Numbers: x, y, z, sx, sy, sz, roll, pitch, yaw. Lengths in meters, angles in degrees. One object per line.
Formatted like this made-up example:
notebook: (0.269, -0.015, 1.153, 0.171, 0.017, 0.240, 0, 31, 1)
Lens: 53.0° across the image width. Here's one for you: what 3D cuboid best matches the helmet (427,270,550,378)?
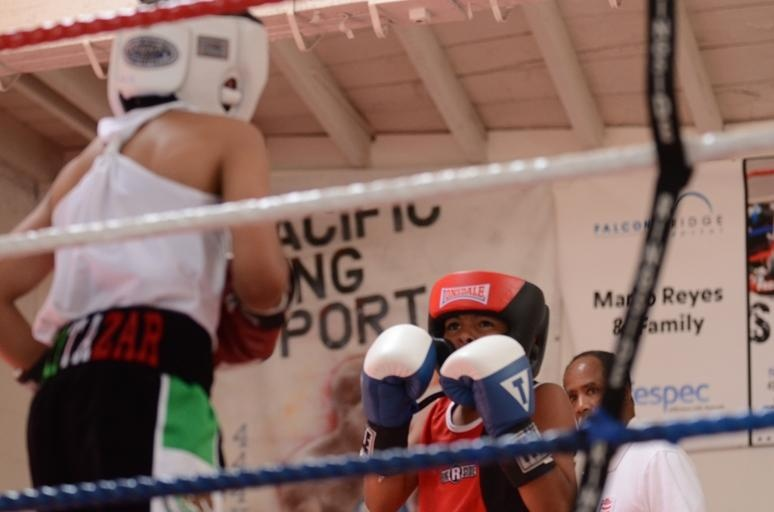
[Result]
helmet: (0.271, 0.173, 2.098, 0.256, 0.207, 0.327, 2, -2, 25)
